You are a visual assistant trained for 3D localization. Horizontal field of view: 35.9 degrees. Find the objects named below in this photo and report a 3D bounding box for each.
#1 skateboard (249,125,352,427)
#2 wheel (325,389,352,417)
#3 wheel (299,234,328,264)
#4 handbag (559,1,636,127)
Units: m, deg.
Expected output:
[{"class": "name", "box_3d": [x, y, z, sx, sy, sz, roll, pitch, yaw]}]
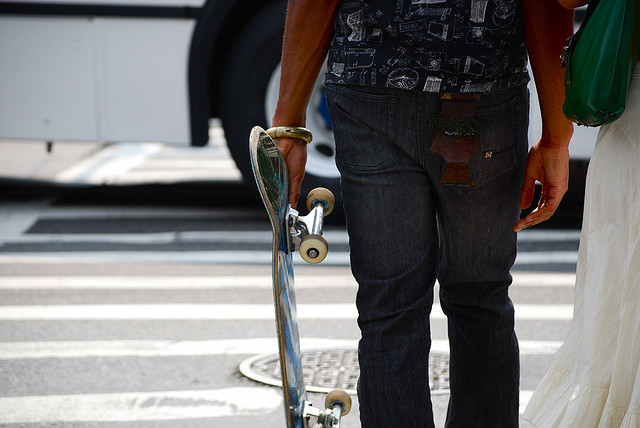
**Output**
[{"class": "skateboard", "box_3d": [-0.072, 0.281, 4.354, 0.374, 1.337, 0.469, 8, 15, 33]}, {"class": "wheel", "box_3d": [0.068, 0.868, 4.474, 0.122, 0.122, 0.126, 5, 4, 0]}, {"class": "wheel", "box_3d": [-0.034, 0.145, 4.231, 0.113, 0.134, 0.114, 0, 12, 0]}, {"class": "handbag", "box_3d": [1.157, -0.637, 4.163, 0.285, 0.511, 0.135, 3, 13, 16]}]
